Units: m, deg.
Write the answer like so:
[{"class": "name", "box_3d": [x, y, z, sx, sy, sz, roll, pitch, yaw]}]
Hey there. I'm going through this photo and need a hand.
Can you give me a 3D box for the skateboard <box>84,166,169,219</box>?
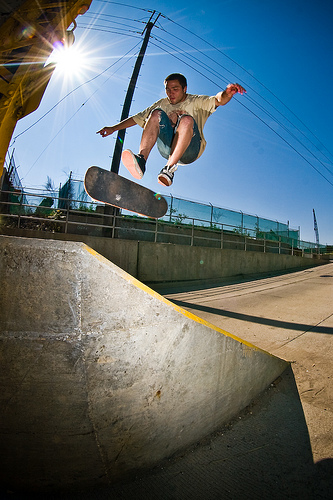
[{"class": "skateboard", "box_3d": [-0.412, -0.623, 3.533, 0.174, 0.447, 1.170, 1, 1, 37]}]
